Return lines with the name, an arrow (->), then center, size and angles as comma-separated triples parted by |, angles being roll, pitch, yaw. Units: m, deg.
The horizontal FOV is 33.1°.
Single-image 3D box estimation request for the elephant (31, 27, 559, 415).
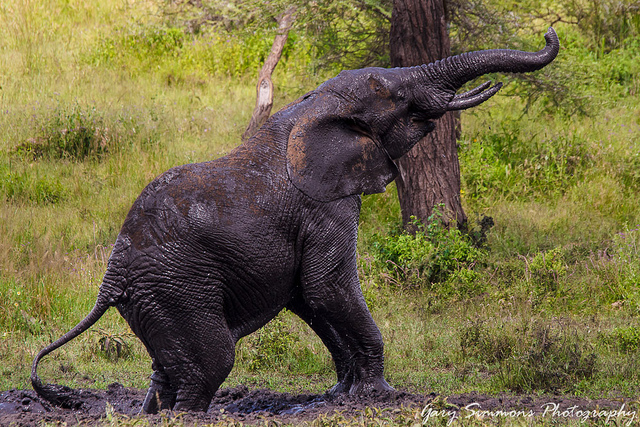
elephant -> -0.293, 0.305, 17.134 | 8.390, 5.535, 2.830 | -10, 17, -19
